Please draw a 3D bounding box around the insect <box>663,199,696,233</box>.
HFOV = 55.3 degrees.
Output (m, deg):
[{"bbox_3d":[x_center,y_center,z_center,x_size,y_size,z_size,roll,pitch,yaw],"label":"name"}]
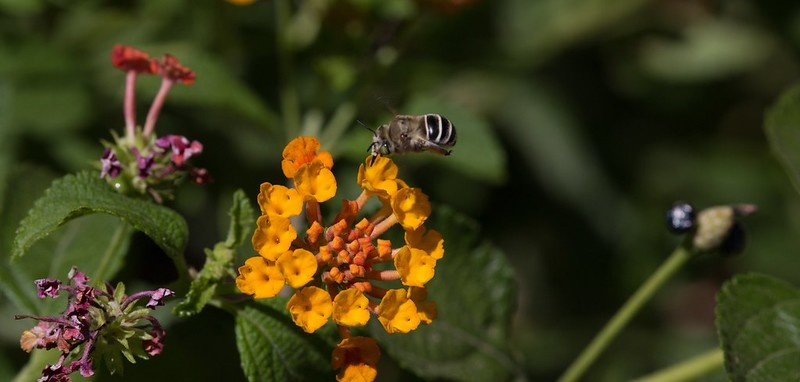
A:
[{"bbox_3d":[1.692,0.162,4.610,0.162,0.194,0.137,-11,-12,36],"label":"insect"}]
